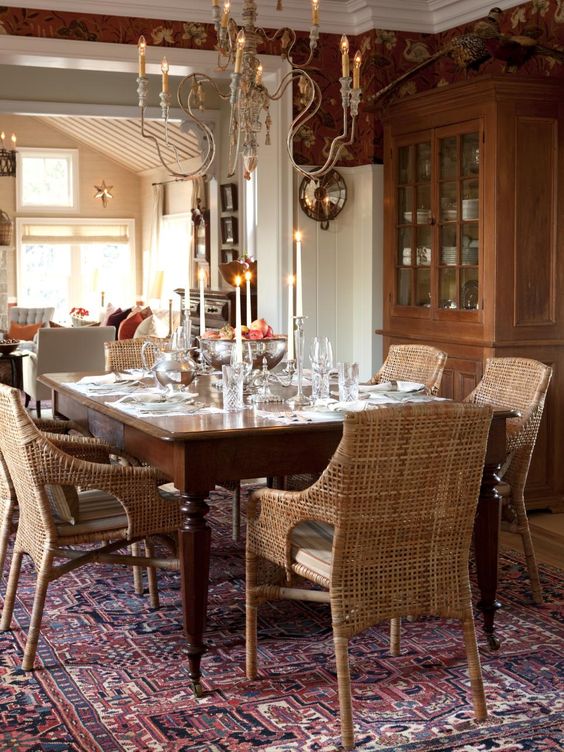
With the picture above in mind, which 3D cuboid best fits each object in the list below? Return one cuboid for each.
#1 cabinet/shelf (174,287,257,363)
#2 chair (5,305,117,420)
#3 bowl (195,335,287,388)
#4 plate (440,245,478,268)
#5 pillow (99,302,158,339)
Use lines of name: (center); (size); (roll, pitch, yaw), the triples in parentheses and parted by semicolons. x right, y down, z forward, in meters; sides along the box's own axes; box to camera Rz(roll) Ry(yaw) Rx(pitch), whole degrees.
cabinet/shelf: (-0.695, -0.449, 7.182); (0.463, 1.005, 1.138); (-13, 15, -34)
chair: (-2.312, -0.200, 6.944); (1.187, 1.166, 1.136); (-2, 8, -27)
bowl: (-0.171, -0.065, 2.529); (0.348, 0.150, 0.331); (-1, 1, 0)
plate: (1.019, -0.698, 3.764); (0.127, 0.054, 0.153); (0, -1, -3)
pillow: (-1.980, -0.755, 8.485); (0.295, 0.544, 0.881); (22, 13, -3)
